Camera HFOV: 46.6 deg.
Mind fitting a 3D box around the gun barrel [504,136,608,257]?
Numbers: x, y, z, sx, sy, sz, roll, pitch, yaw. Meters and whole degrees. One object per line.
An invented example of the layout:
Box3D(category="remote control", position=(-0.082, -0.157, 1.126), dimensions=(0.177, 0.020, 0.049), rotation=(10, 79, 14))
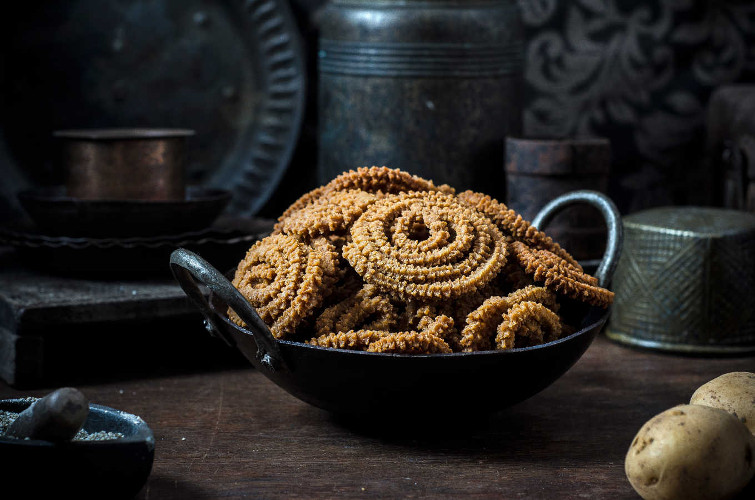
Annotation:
Box3D(category="gun barrel", position=(0.341, -0.124, 1.870), dimensions=(0.226, 0.266, 0.234), rotation=(1, 10, 7))

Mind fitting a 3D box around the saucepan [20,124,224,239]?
Box3D(category="saucepan", position=(-0.466, -0.110, 1.607), dimensions=(0.243, 0.117, 0.266), rotation=(0, 0, 3))
